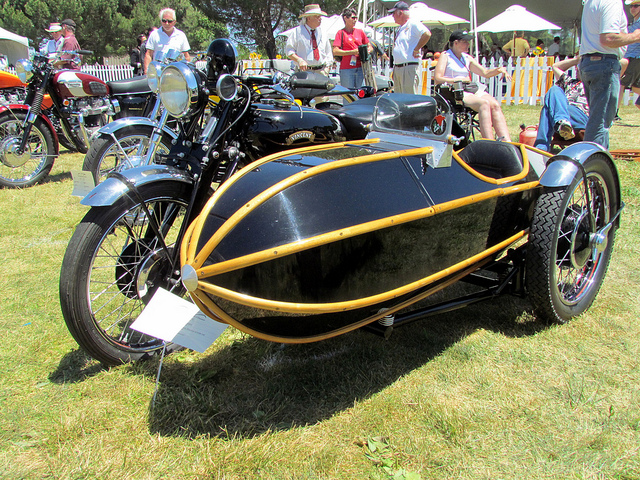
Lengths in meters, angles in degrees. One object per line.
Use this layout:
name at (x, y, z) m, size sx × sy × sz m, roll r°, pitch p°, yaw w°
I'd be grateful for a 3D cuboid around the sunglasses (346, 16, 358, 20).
sunglasses at (0.464, -3.392, 7.674) m, size 0.099 × 0.028 × 0.100 m, roll 17°, pitch 25°, yaw 42°

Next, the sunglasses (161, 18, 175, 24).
sunglasses at (-2.166, -3.097, 7.108) m, size 0.092 × 0.065 × 0.202 m, roll 13°, pitch 23°, yaw 40°

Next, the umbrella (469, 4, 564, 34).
umbrella at (5.974, -6.658, 15.093) m, size 1.413 × 0.746 × 2.309 m, roll 15°, pitch 24°, yaw 42°

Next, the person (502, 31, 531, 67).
person at (6.070, -5.797, 15.339) m, size 0.722 × 1.429 × 0.513 m, roll 20°, pitch 64°, yaw 29°

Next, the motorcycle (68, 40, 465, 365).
motorcycle at (-0.204, -0.471, 3.982) m, size 3.506 × 1.861 × 1.437 m, roll -10°, pitch 14°, yaw -37°
